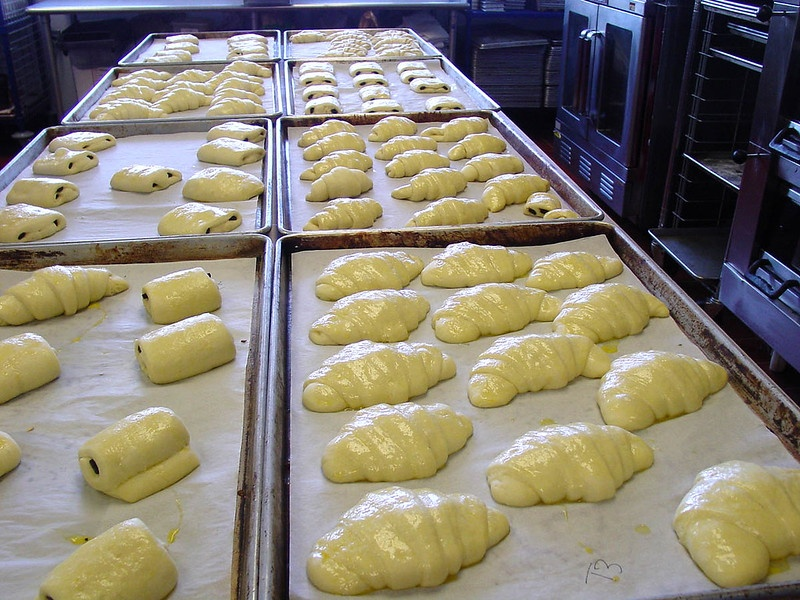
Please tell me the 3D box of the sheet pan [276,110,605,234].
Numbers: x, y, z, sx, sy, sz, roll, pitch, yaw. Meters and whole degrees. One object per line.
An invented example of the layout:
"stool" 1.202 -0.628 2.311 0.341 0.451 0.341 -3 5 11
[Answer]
"sheet pan" 0.129 -0.631 2.884 1.143 0.108 0.962 -5 33 -9

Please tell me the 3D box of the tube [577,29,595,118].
"tube" 1.414 -1.754 4.600 0.167 0.591 0.160 6 14 36
